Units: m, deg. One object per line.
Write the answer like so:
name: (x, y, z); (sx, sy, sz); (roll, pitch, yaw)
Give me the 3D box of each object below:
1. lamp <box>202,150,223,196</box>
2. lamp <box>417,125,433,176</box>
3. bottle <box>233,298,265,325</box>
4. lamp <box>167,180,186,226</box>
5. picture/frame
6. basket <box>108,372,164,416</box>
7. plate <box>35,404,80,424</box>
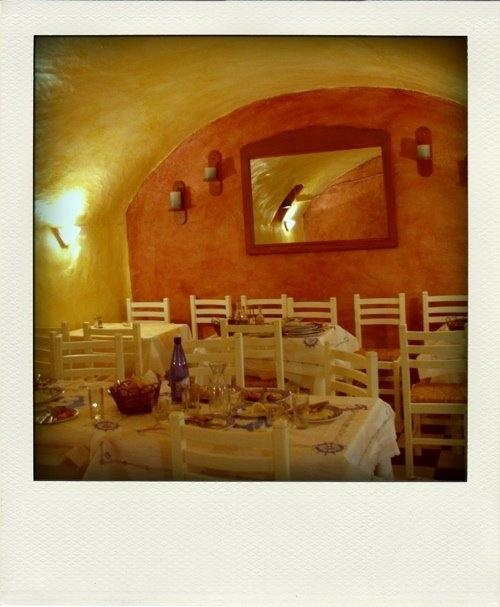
lamp: (-0.332, -1.130, 4.778); (0.171, 0.390, 0.155); (-1, 0, 10)
lamp: (1.315, -1.167, 4.234); (0.129, 0.352, 0.139); (0, 3, 12)
bottle: (-0.007, 0.064, 3.818); (0.174, 0.221, 0.236); (0, -11, 5)
lamp: (-0.661, -0.896, 4.933); (0.184, 0.390, 0.127); (-1, 0, 12)
picture/frame: (0.602, -0.936, 4.475); (1.336, 0.931, 0.052); (-1, 0, 20)
basket: (-0.400, 0.307, 1.837); (0.234, 0.122, 0.211); (-4, -9, -17)
plate: (-0.620, 0.357, 1.789); (0.126, 0.054, 0.214); (-1, 1, -17)
